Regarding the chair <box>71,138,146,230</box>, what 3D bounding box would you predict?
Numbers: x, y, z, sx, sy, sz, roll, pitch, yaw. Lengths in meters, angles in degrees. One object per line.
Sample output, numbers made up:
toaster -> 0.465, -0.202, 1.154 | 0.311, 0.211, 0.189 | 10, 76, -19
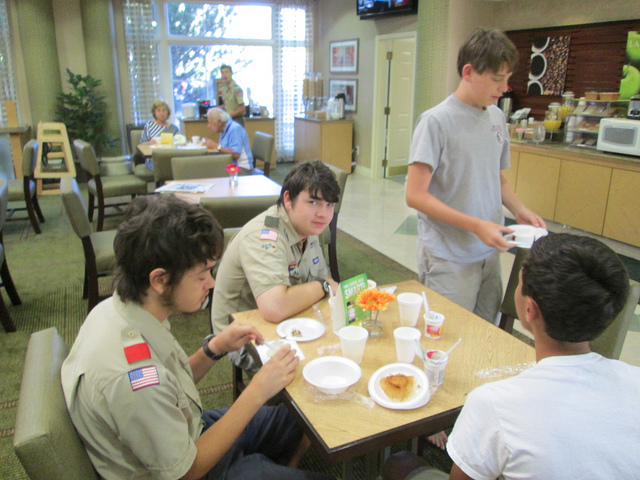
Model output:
chair -> -2.400, -0.631, 5.467 | 0.608, 1.007, 0.644 | -10, 21, -32

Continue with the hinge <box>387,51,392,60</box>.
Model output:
hinge -> 1.100, -2.923, 7.568 | 0.086, 0.176, 0.091 | 1, 7, -2

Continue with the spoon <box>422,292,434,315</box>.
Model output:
spoon -> 0.460, 0.272, 2.027 | 0.023, 0.121, 0.026 | -18, 40, 7

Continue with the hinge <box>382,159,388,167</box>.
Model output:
hinge -> 1.098, -1.297, 8.073 | 0.105, 0.109, 0.072 | -3, 4, -45

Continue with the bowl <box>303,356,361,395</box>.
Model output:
bowl -> 0.043, 0.468, 1.666 | 0.116, 0.038, 0.124 | -1, 30, 1

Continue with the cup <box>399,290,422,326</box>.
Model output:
cup -> 0.372, 0.279, 1.998 | 0.111, 0.109, 0.113 | 2, 19, -1

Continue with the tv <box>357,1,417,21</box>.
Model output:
tv -> 0.976, -3.411, 6.998 | 0.349, 0.297, 1.149 | -14, 22, -28

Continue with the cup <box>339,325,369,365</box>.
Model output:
cup -> 0.120, 0.372, 1.786 | 0.114, 0.118, 0.118 | 0, 18, 0

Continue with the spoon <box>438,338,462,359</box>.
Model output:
spoon -> 0.485, 0.406, 1.776 | 0.014, 0.104, 0.015 | 29, 17, -32

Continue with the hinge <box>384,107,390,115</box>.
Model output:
hinge -> 1.094, -2.125, 7.825 | 0.096, 0.109, 0.024 | -2, 5, -8

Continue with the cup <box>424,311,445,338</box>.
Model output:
cup -> 0.463, 0.330, 1.910 | 0.083, 0.072, 0.088 | 1, 7, 0
